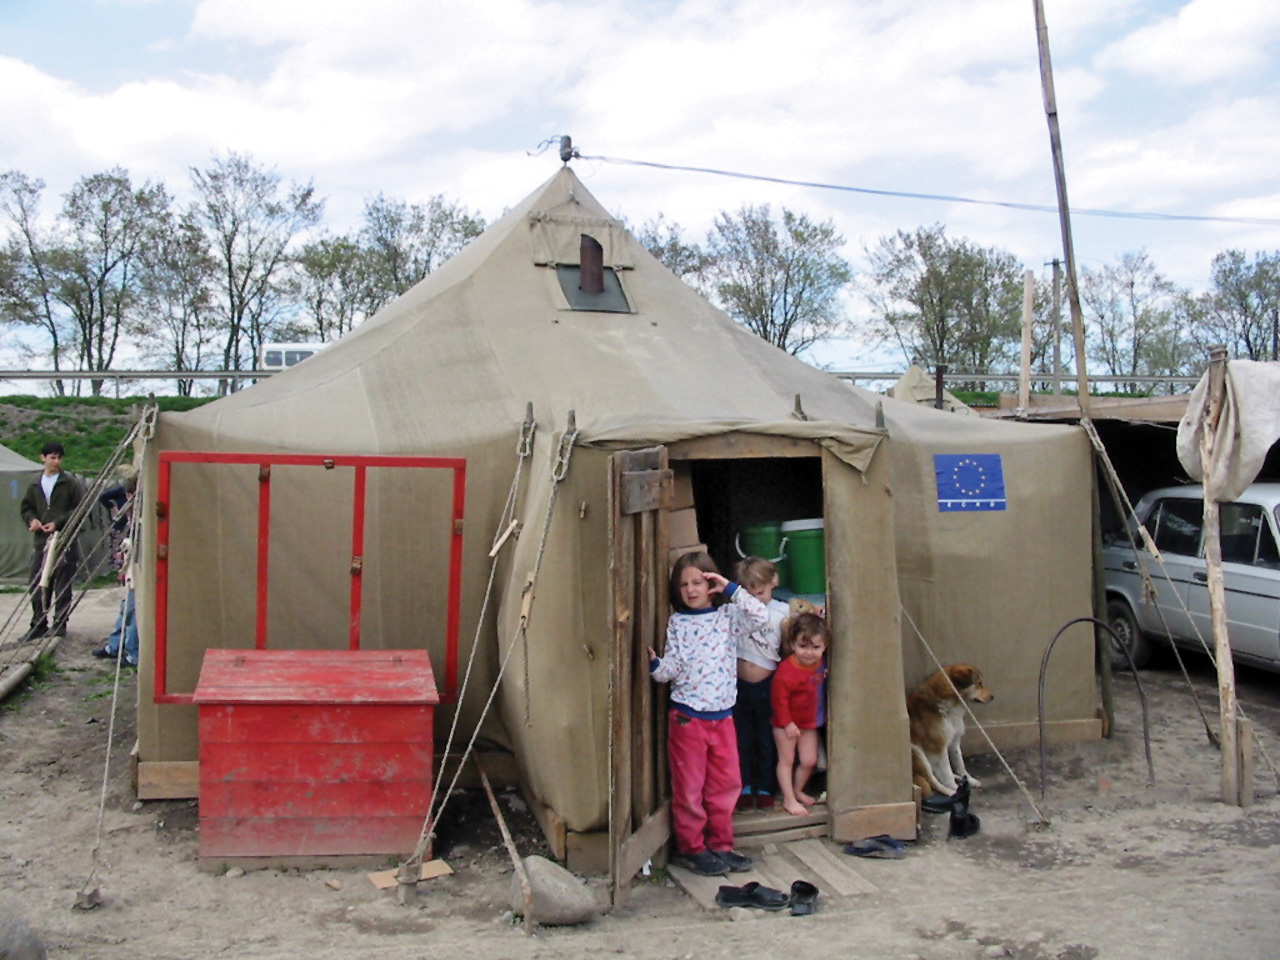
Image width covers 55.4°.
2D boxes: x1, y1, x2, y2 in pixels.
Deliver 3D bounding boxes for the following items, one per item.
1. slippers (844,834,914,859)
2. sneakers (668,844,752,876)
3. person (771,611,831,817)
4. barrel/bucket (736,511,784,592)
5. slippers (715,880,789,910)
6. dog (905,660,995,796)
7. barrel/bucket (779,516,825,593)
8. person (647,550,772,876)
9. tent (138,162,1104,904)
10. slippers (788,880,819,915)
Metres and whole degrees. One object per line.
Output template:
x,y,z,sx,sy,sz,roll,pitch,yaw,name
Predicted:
1.617,2.458,8.165,0.547,0.080,0.212,-2,13,-10,slippers
0.475,2.470,7.892,0.313,0.122,0.215,-4,-6,19,sneakers
1.068,1.563,8.305,0.297,1.366,0.359,8,15,29,person
0.906,0.466,9.242,0.387,0.470,0.394,1,-5,0,barrel/bucket
0.684,2.568,7.533,0.296,0.112,0.174,0,-5,-1,slippers
2.220,1.810,8.892,0.528,0.950,0.503,1,13,5,dog
1.214,0.574,8.992,0.539,0.547,0.430,-2,-5,18,barrel/bucket
0.442,1.471,7.995,0.661,1.979,0.810,3,13,12,person
-0.500,0.317,10.326,5.861,3.741,5.710,0,0,-2,tent
0.993,2.566,7.501,0.089,0.098,0.239,3,11,12,slippers
